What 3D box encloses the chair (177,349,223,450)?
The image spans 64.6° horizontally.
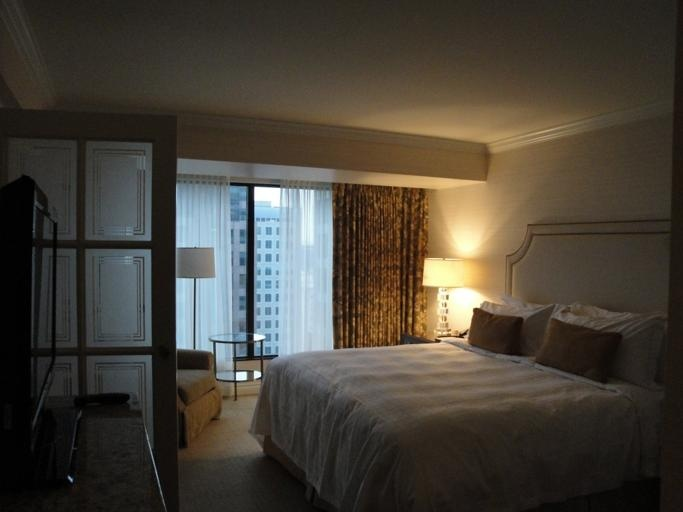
[{"bbox_3d":[-1.384,1.332,5.196,0.582,0.768,1.069,0,0,-6],"label":"chair"}]

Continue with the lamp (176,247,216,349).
[{"bbox_3d":[-1.674,0.524,6.162,0.392,1.722,0.405,1,32,-14],"label":"lamp"}]

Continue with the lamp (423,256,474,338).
[{"bbox_3d":[1.224,0.492,6.544,0.515,0.878,0.518,-1,3,-42],"label":"lamp"}]

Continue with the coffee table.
[{"bbox_3d":[-1.204,1.238,6.209,0.685,0.825,0.714,-1,2,-4],"label":"coffee table"}]
